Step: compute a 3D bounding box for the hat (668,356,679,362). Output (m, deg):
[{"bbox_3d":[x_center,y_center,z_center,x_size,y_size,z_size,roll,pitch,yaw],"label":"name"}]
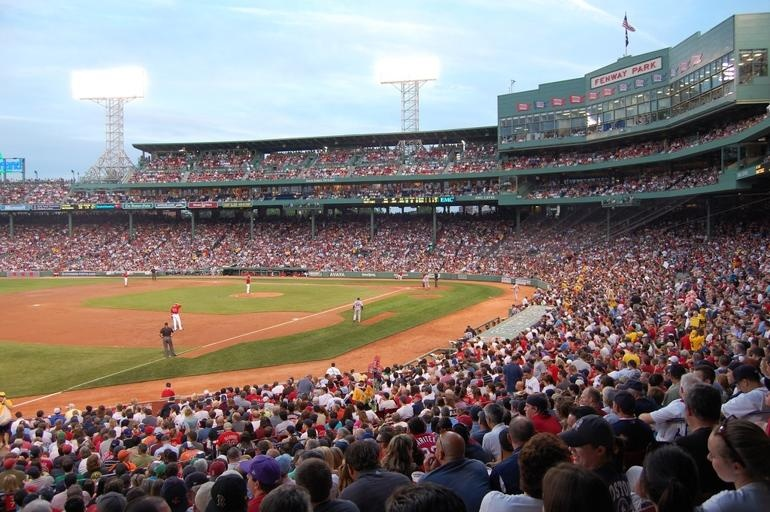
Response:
[{"bbox_3d":[14.980,5.398,44.798,0.291,0.166,0.366,-7,22,-35],"label":"hat"}]
